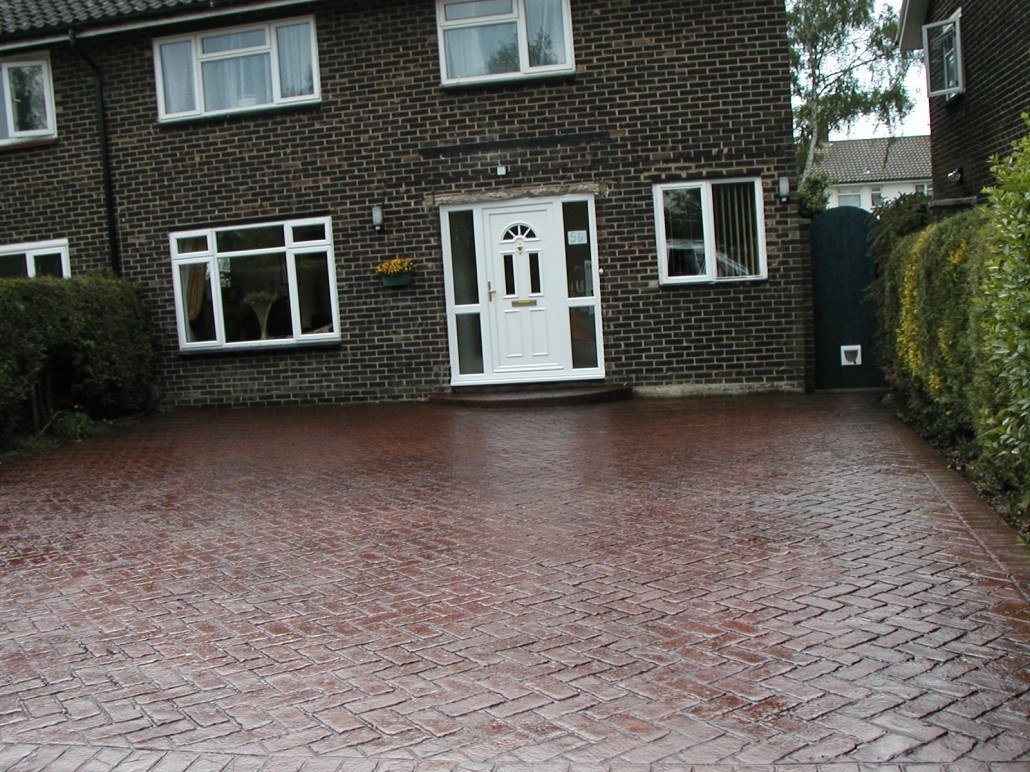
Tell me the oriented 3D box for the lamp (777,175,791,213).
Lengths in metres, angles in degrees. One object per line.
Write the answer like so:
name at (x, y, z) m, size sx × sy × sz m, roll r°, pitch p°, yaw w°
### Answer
lamp at (4.349, -3.123, 14.999) m, size 0.189 × 0.513 × 0.110 m, roll -2°, pitch 8°, yaw 9°

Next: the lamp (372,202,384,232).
lamp at (-2.355, -2.903, 15.885) m, size 0.189 × 0.355 × 0.372 m, roll -1°, pitch 47°, yaw -1°

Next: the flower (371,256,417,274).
flower at (-2.051, -2.037, 15.862) m, size 0.474 × 0.235 × 0.372 m, roll -2°, pitch 5°, yaw 20°
